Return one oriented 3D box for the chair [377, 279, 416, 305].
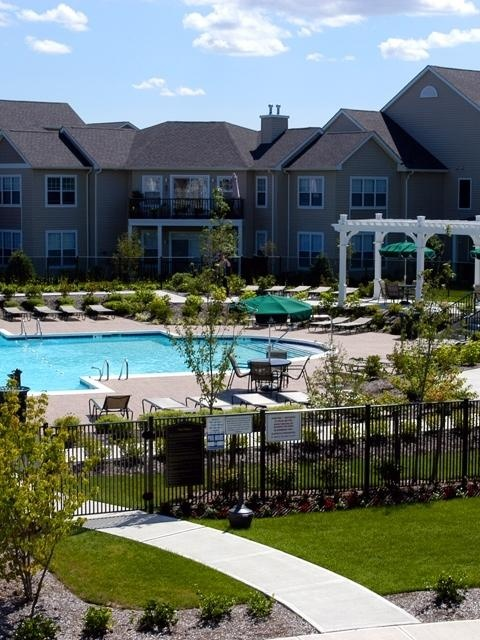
[{"bbox_3d":[5.879,-1.026,40.349,1.063,0.711,1.086,7,13,41],"label":"chair"}]
